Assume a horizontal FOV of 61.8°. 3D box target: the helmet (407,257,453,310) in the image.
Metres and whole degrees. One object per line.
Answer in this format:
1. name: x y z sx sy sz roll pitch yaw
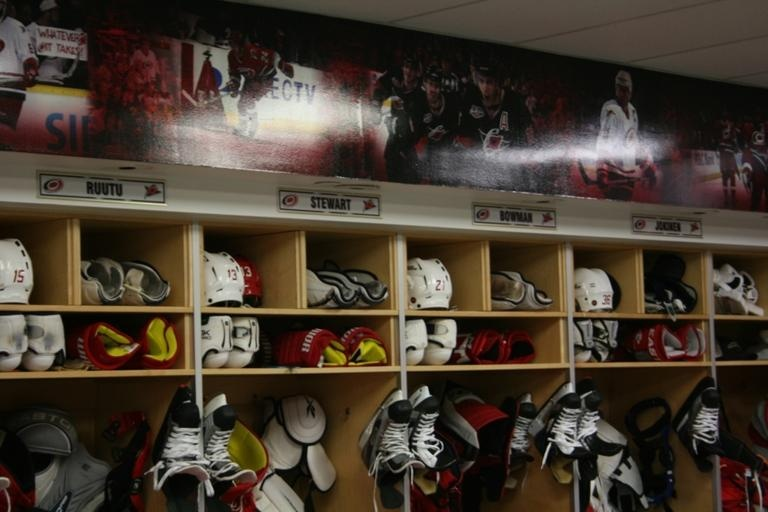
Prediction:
1. helmet: 0.283 0.235 4.702 0.310 0.321 0.364 8 -22 -27

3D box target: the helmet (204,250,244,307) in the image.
1. helmet: -1.001 0.151 4.023 0.245 0.308 0.324 8 -13 -39

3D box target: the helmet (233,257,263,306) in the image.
1. helmet: -0.874 0.168 4.197 0.214 0.290 0.288 2 -15 -16

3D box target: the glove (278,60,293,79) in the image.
1. glove: -0.586 -1.121 3.857 0.110 0.056 0.053 34 13 -11

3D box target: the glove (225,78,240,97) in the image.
1. glove: -0.878 -0.979 3.727 0.066 0.046 0.108 -2 41 1
